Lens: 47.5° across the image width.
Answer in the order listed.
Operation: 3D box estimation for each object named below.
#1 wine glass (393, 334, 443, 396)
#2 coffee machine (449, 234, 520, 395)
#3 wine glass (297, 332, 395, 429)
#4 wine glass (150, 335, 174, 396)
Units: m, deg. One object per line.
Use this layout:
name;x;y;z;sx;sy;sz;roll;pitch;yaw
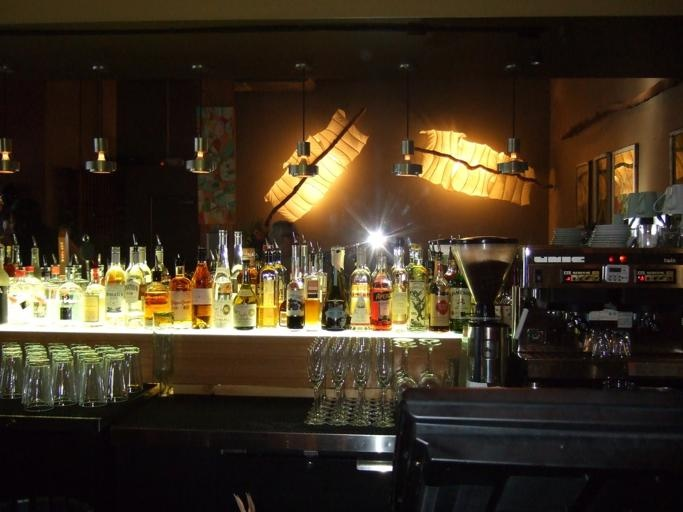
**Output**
wine glass;0.303;0.458;3.270;0.223;0.337;0.220;0;-8;-1
coffee machine;0.557;0.216;3.022;0.240;0.576;0.251;2;-1;-32
wine glass;0.052;0.506;3.296;0.316;0.276;0.372;1;3;7
wine glass;-0.786;0.478;3.407;0.094;0.206;0.123;1;-1;-14
